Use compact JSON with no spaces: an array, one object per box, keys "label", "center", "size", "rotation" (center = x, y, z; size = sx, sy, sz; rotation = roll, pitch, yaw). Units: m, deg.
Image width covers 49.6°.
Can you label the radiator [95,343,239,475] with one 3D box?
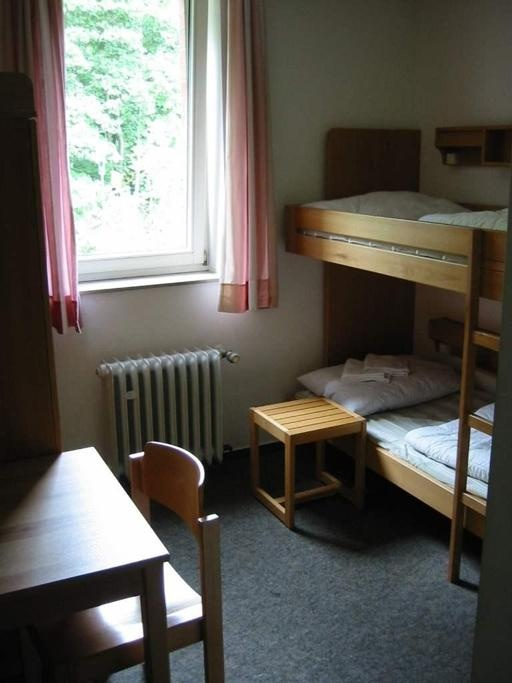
[{"label":"radiator","center":[-0.454,0.293,2.633],"size":[0.503,0.587,0.144],"rotation":[-7,13,-28]}]

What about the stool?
[{"label":"stool","center":[0.258,0.493,2.743],"size":[0.467,0.628,0.502],"rotation":[-7,16,-24]}]

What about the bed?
[{"label":"bed","center":[0.576,0.189,2.464],"size":[0.629,1.132,1.231],"rotation":[-7,19,-25]}]
